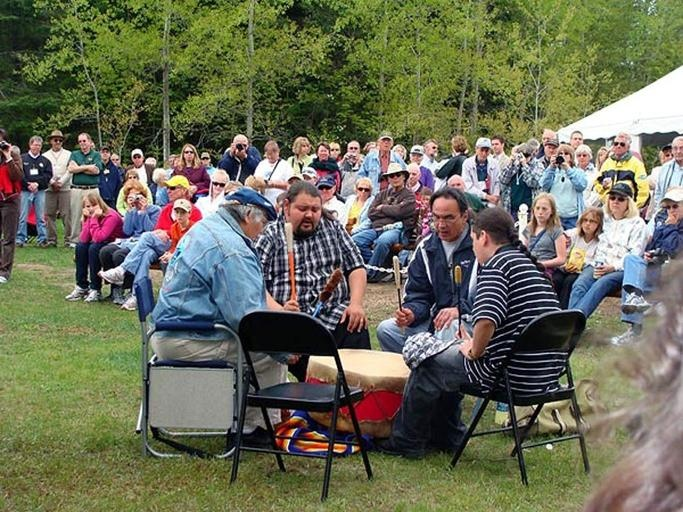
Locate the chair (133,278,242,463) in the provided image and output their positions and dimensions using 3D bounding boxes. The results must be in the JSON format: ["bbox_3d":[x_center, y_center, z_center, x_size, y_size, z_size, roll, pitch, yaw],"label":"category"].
[{"bbox_3d":[-1.131,0.857,5.678,0.761,1.191,0.685,1,-4,-13],"label":"chair"}]

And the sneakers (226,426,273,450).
[{"bbox_3d":[-0.682,1.375,5.748,0.257,0.086,0.199,0,5,-4],"label":"sneakers"}]

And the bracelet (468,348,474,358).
[{"bbox_3d":[0.888,0.675,5.311,0.038,0.049,0.052,-2,4,2],"label":"bracelet"}]

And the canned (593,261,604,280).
[{"bbox_3d":[2.789,0.175,8.395,0.138,0.244,0.147,-3,-8,28],"label":"canned"}]

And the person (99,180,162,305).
[{"bbox_3d":[-2.826,-0.182,10.329,0.537,1.500,0.836,-9,-18,32],"label":"person"}]

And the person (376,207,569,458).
[{"bbox_3d":[0.926,0.556,5.654,1.295,1.900,0.864,5,12,20],"label":"person"}]

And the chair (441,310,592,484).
[{"bbox_3d":[1.374,1.004,5.447,0.796,1.033,0.732,11,-21,-40],"label":"chair"}]

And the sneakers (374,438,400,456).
[{"bbox_3d":[0.340,1.439,5.766,0.139,0.054,0.114,7,-15,15],"label":"sneakers"}]

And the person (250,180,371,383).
[{"bbox_3d":[-0.150,0.420,6.651,1.028,2.110,0.831,-6,2,30],"label":"person"}]

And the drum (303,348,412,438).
[{"bbox_3d":[0.135,1.051,6.187,0.712,0.531,0.758,1,15,0],"label":"drum"}]

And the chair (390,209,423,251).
[{"bbox_3d":[0.858,-0.300,11.011,0.548,0.690,0.442,0,2,-34],"label":"chair"}]

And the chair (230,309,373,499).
[{"bbox_3d":[-0.269,0.944,5.221,0.915,1.208,0.726,4,9,4],"label":"chair"}]

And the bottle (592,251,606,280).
[{"bbox_3d":[2.830,0.116,8.460,0.202,0.283,0.222,-2,-11,20],"label":"bottle"}]

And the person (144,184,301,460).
[{"bbox_3d":[-0.835,0.430,5.891,1.062,1.874,0.937,1,12,-12],"label":"person"}]

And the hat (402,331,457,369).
[{"bbox_3d":[0.633,0.677,5.588,0.312,0.155,0.248,-21,12,23],"label":"hat"}]
